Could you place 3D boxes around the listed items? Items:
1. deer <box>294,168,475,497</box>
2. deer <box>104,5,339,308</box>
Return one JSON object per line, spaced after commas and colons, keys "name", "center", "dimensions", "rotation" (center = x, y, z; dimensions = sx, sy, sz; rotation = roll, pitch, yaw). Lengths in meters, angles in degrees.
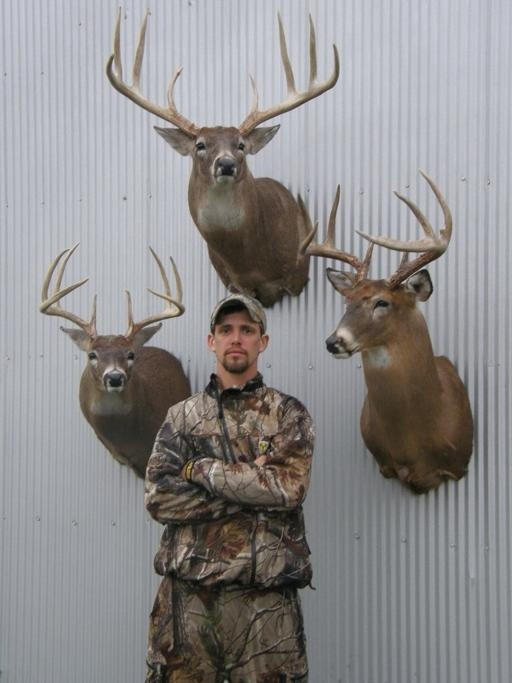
{"name": "deer", "center": [0.817, 0.017, 9.902], "dimensions": [1.137, 1.944, 0.724], "rotation": [-4, 5, -34]}
{"name": "deer", "center": [-0.145, -1.046, 10.083], "dimensions": [1.208, 1.799, 1.062], "rotation": [-4, 5, -28]}
